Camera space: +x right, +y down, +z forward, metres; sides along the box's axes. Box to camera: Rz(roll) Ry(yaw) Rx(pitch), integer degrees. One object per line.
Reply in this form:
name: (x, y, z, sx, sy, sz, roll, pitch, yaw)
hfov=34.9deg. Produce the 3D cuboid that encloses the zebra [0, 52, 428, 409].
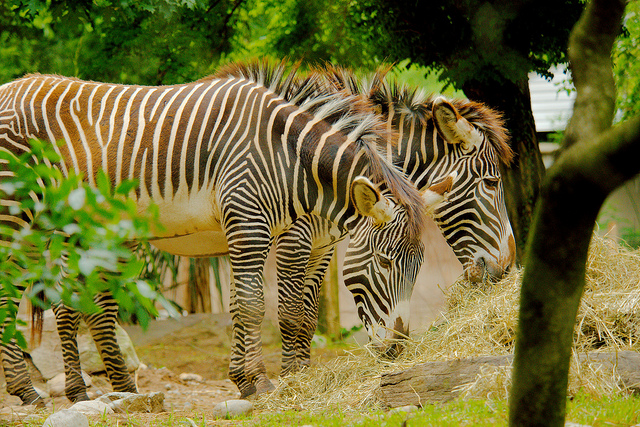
zebra: (-0.796, 0.046, 8.876, 3.463, 2.987, 1.051, -8, 10, 5)
